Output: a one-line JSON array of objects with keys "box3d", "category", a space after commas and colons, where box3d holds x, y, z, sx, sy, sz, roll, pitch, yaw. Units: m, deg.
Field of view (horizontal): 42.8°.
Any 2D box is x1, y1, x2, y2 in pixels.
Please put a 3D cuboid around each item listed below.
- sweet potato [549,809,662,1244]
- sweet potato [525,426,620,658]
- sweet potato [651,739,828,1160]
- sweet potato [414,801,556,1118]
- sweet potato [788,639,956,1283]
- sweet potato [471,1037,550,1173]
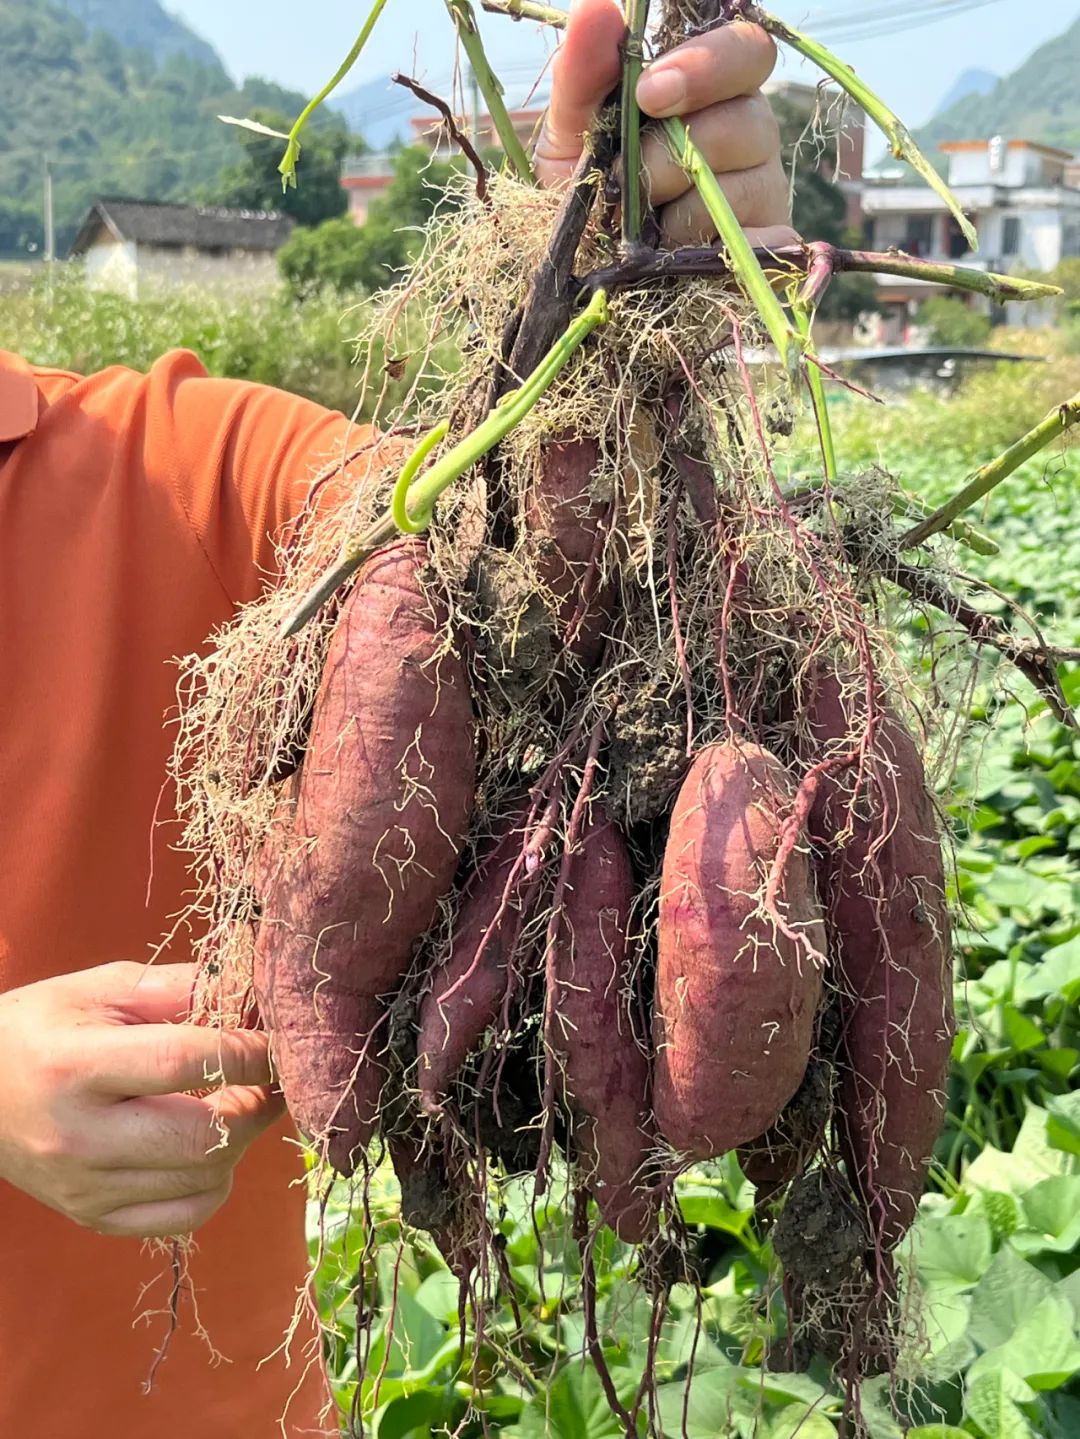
[{"box3d": [0.037, 0.186, 0.826, 0.055, 0.235, 0.095, -2, 18, 3], "category": "sweet potato"}, {"box3d": [0.019, -0.100, 0.851, 0.049, 0.137, 0.060, -2, 18, 2], "category": "sweet potato"}, {"box3d": [0.120, 0.128, 0.791, 0.082, 0.220, 0.100, 6, -2, -28], "category": "sweet potato"}, {"box3d": [-0.037, 0.140, 0.821, 0.053, 0.149, 0.126, 8, 21, 30], "category": "sweet potato"}, {"box3d": [0.203, 0.140, 0.835, 0.087, 0.356, 0.104, -2, -6, -14], "category": "sweet potato"}, {"box3d": [-0.019, 0.242, 0.851, 0.024, 0.081, 0.063, 1, -3, 12], "category": "sweet potato"}]
